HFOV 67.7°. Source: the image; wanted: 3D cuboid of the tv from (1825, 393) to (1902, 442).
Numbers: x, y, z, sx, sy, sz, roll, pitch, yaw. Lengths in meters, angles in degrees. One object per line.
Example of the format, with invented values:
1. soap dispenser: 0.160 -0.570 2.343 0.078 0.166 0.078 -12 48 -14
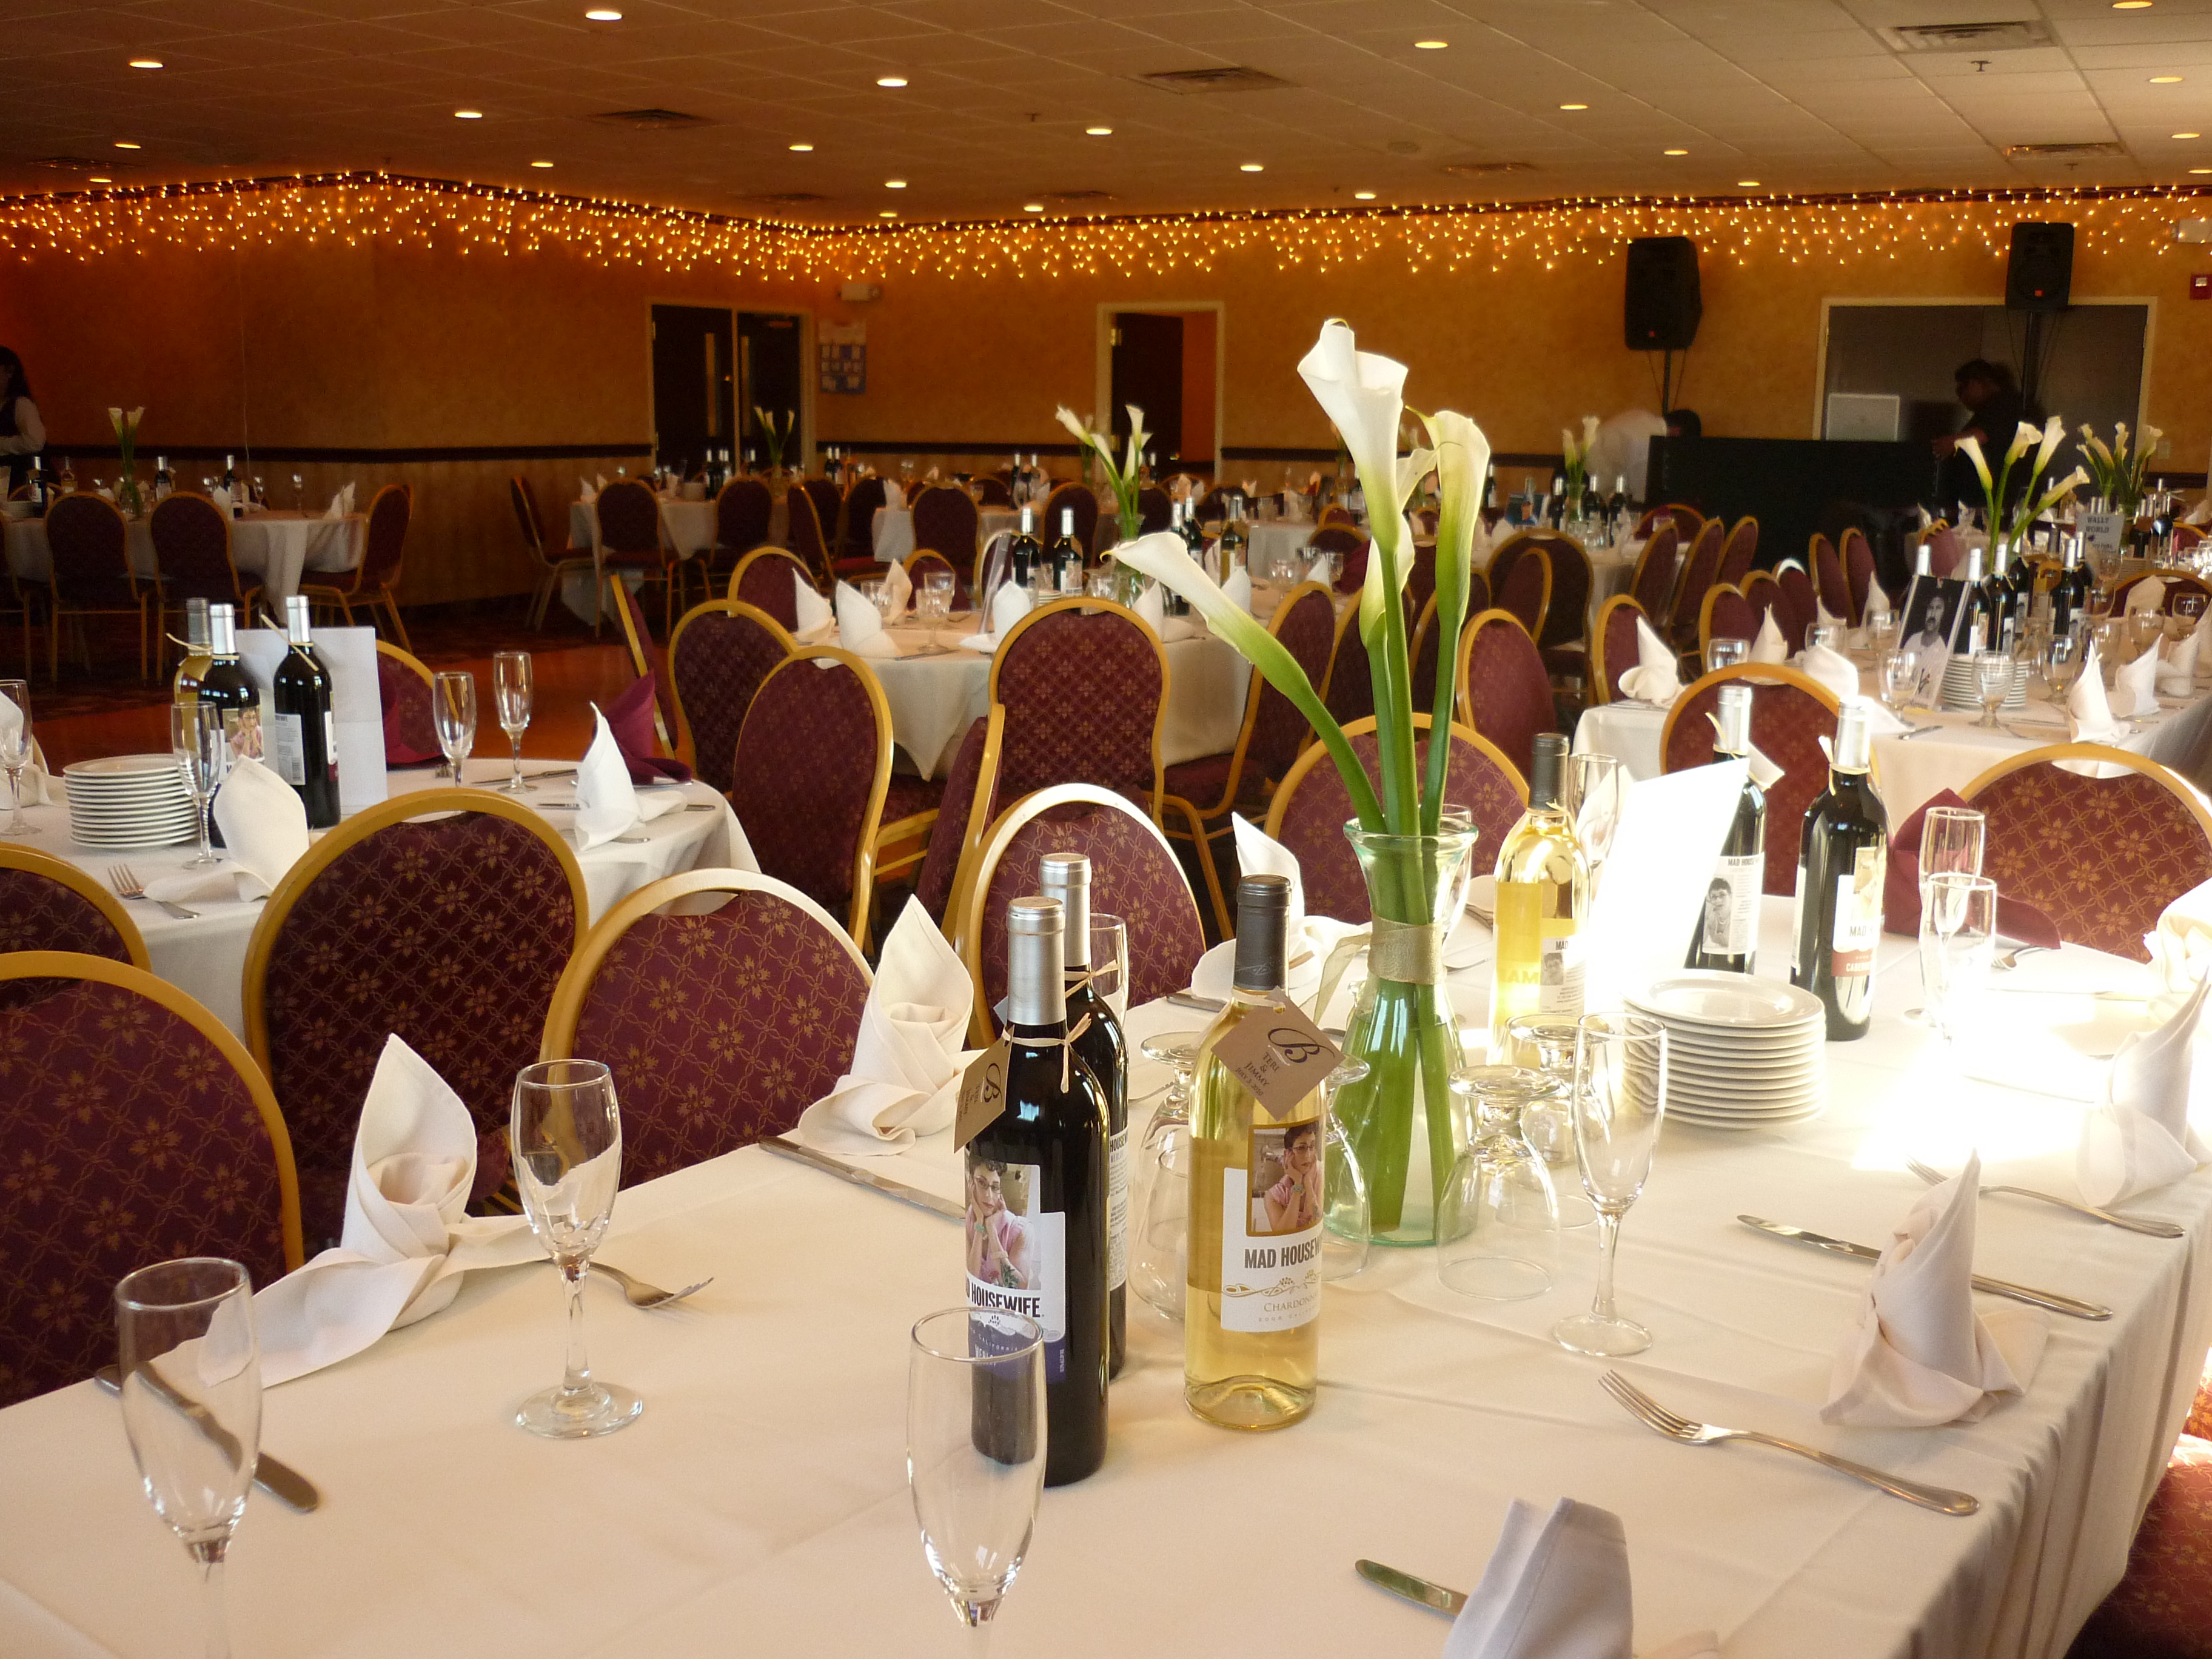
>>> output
1. tv: 5.101 -2.725 11.075 0.361 0.314 0.201 10 19 31

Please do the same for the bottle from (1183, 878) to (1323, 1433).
1. bottle: 0.112 0.233 1.225 0.105 0.419 0.184 0 9 6

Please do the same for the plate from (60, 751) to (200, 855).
1. plate: -1.726 -0.073 2.920 0.183 0.132 0.187 -6 8 -35

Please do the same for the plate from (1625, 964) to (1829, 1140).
1. plate: 0.687 0.253 1.810 0.158 0.099 0.203 3 10 15

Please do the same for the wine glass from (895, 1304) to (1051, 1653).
1. wine glass: -0.074 0.371 0.955 0.073 0.257 0.216 -1 9 -5

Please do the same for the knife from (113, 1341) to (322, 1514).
1. knife: -0.546 0.371 1.008 0.022 0.204 0.021 -38 25 -12

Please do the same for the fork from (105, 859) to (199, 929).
1. fork: -1.548 0.104 2.681 0.089 0.062 0.379 -2 16 -42

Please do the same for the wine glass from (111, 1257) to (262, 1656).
1. wine glass: -0.549 0.375 0.999 0.069 0.242 0.188 -6 10 -30

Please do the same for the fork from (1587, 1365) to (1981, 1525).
1. fork: 0.502 0.455 1.207 0.255 0.047 0.037 11 23 39

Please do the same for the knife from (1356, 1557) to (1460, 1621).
1. knife: 0.193 0.487 1.054 0.016 0.020 0.079 -11 9 -29
